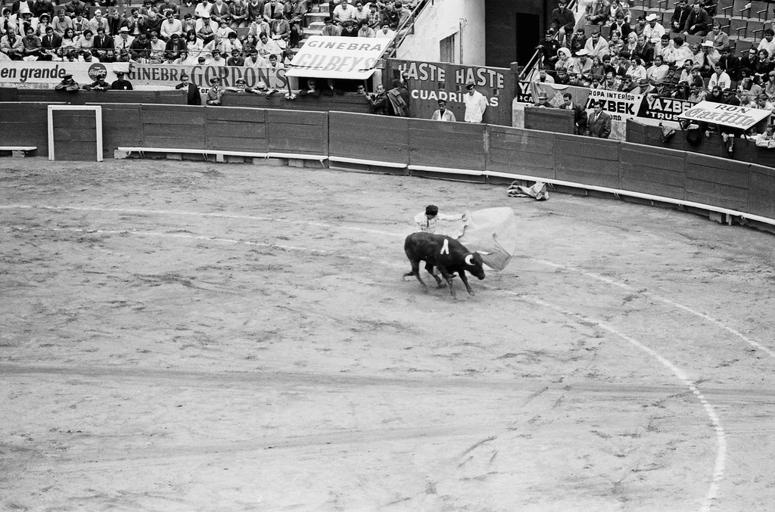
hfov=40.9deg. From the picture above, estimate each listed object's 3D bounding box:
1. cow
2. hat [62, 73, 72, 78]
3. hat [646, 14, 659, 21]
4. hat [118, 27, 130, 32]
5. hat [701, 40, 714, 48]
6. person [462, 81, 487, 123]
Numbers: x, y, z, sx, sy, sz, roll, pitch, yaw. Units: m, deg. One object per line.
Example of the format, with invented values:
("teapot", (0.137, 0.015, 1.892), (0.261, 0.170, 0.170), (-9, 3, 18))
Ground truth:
("cow", (1.363, 0.180, 23.017), (1.750, 1.377, 0.896), (13, 17, 40))
("hat", (-11.246, -6.318, 36.527), (0.333, 0.100, 0.259), (-1, 1, 1))
("hat", (8.293, -7.400, 32.392), (0.496, 0.119, 0.407), (3, 12, 10))
("hat", (-9.512, -8.177, 37.510), (0.354, 0.162, 0.279), (3, 5, 6))
("hat", (9.480, -6.221, 30.545), (0.415, 0.105, 0.384), (5, 9, 15))
("person", (2.795, -4.807, 32.374), (0.734, 1.266, 1.097), (4, 13, 3))
